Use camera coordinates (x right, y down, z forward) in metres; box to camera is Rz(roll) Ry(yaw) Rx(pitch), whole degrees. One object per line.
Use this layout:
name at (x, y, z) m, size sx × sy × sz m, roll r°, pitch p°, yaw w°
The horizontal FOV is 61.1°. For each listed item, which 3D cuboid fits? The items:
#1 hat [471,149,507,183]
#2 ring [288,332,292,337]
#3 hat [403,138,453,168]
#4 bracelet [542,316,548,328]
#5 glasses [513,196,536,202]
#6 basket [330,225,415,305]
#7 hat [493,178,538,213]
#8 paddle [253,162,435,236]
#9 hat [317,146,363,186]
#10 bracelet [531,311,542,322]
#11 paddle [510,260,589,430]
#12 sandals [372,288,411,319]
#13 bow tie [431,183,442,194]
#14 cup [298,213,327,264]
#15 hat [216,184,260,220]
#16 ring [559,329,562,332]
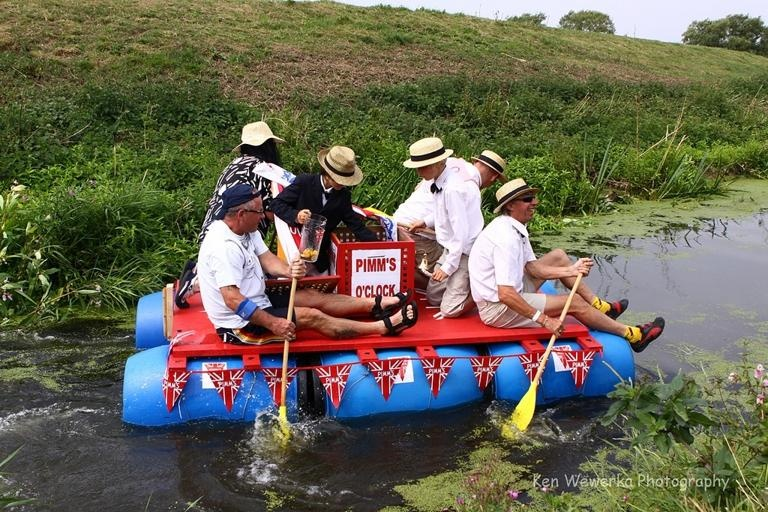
hat at (1.516, -1.202, 8.811) m, size 0.413 × 0.177 × 0.472 m, roll 27°, pitch -4°, yaw 36°
ring at (-1.029, 0.852, 7.095) m, size 0.043 × 0.043 × 0.016 m, roll -3°, pitch 5°, yaw -29°
hat at (0.543, -1.300, 8.074) m, size 0.485 × 0.160 × 0.446 m, roll -22°, pitch 24°, yaw -7°
bracelet at (1.889, 0.768, 7.632) m, size 0.026 × 0.093 × 0.098 m, roll 13°, pitch -21°, yaw 7°
glasses at (1.688, -0.690, 7.768) m, size 0.269 × 0.090 × 0.086 m, roll -3°, pitch 14°, yaw -31°
basket at (-0.140, 0.076, 7.854) m, size 0.820 × 0.620 × 0.817 m, roll -1°, pitch 20°, yaw -6°
hat at (1.594, -0.791, 7.810) m, size 0.481 × 0.184 × 0.423 m, roll -26°, pitch -6°, yaw -2°
paddle at (-0.446, -0.718, 8.606) m, size 1.794 × 0.427 × 1.098 m, roll 18°, pitch 12°, yaw -29°
hat at (-0.529, -1.124, 7.860) m, size 0.526 × 0.202 × 0.453 m, roll 49°, pitch 43°, yaw 8°
bracelet at (1.786, 0.701, 7.624) m, size 0.085 × 0.140 × 0.039 m, roll 37°, pitch -3°, yaw 11°
paddle at (1.958, 1.122, 7.732) m, size 0.257 × 2.236 × 0.111 m, roll 30°, pitch -25°, yaw -6°
sandals at (0.051, 0.575, 7.692) m, size 0.218 × 0.560 × 0.161 m, roll 50°, pitch 1°, yaw 27°
bow tie at (0.643, -0.859, 8.188) m, size 0.040 × 0.121 × 0.118 m, roll -15°, pitch 23°, yaw -40°
cup at (-0.796, -0.187, 7.077) m, size 0.258 × 0.535 × 0.177 m, roll 3°, pitch 12°, yaw -6°
hat at (-1.596, -0.642, 7.044) m, size 0.165 × 0.441 × 0.284 m, roll 53°, pitch 10°, yaw -19°
ring at (2.049, 0.864, 7.586) m, size 0.034 × 0.048 × 0.019 m, roll 1°, pitch 0°, yaw 6°
